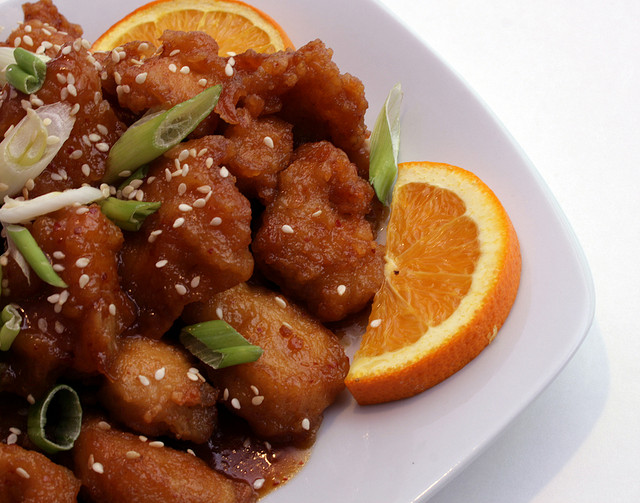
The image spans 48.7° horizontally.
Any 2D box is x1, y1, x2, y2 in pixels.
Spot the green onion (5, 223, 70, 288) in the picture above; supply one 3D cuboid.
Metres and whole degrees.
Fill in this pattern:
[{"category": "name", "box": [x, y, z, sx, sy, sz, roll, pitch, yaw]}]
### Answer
[{"category": "green onion", "box": [-1.164, 0.014, 2.884, 0.362, 0.097, 0.066, 42, 5, 7]}]
